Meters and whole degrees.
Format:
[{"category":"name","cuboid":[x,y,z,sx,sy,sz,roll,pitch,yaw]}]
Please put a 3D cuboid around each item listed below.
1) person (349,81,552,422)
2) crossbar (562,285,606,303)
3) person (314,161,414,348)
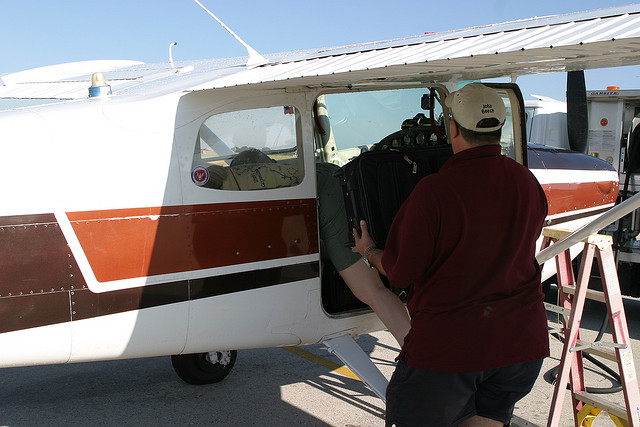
[{"category":"person","cuboid":[0.742,0.232,2.441,0.850,1.722,0.369,2,9,8]},{"category":"crossbar","cuboid":[1.958,0.575,3.556,0.198,0.049,0.177,9,1,44]},{"category":"person","cuboid":[0.245,0.258,3.600,0.914,1.193,0.348,-12,13,-27]}]
